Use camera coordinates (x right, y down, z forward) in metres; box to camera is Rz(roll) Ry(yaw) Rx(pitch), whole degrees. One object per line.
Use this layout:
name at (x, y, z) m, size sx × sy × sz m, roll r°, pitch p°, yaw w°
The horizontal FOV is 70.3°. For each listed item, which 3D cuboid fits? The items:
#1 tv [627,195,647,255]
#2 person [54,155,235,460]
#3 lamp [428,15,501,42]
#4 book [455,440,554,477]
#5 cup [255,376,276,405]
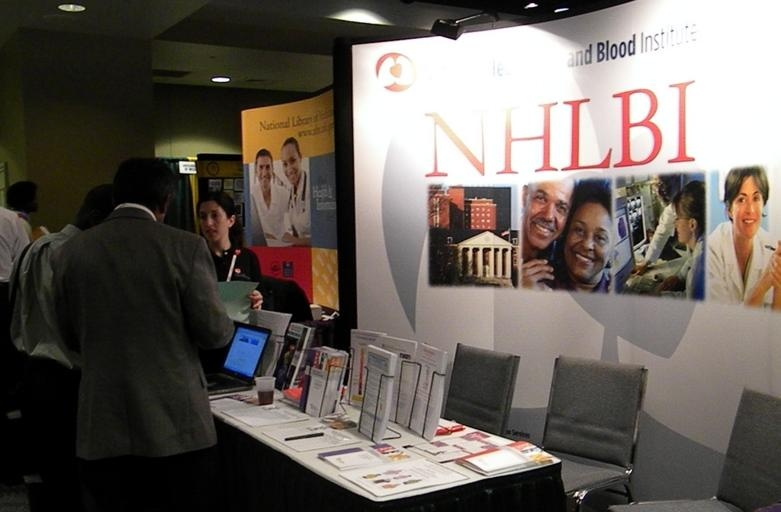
tv at (1.724, -0.239, 3.886) m, size 0.070 × 0.307 × 0.303 m, roll -2°, pitch 4°, yaw 22°
person at (-1.228, 0.248, 2.755) m, size 0.824 × 1.444 × 0.383 m, roll -2°, pitch 6°, yaw -18°
lamp at (0.640, -1.853, 4.512) m, size 0.700 × 0.190 × 0.420 m, roll -16°, pitch 31°, yaw -42°
book at (0.580, 1.006, 2.742) m, size 0.251 × 0.035 × 0.178 m, roll -2°, pitch 3°, yaw -32°
cup at (-0.775, 0.845, 3.494) m, size 0.146 × 0.161 × 0.145 m, roll -3°, pitch -6°, yaw 0°
